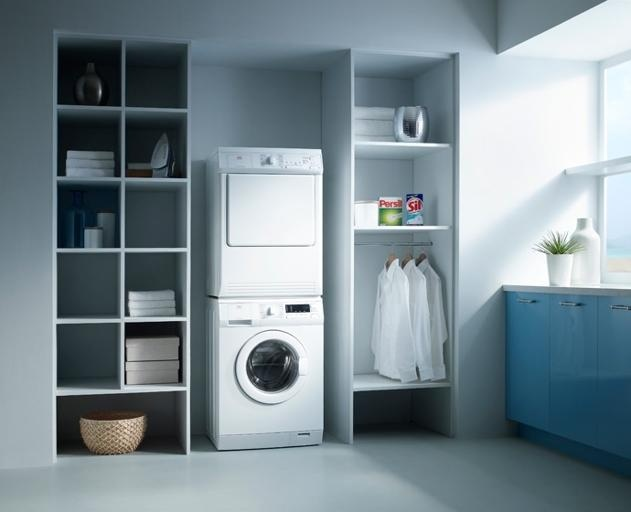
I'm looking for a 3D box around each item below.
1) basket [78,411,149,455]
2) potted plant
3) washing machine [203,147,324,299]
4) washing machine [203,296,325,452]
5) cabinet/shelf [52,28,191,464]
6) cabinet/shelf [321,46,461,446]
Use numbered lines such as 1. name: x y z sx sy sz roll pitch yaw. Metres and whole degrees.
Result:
1. basket: -1.257 1.122 3.396 0.268 0.165 0.286 1 -6 -5
2. potted plant: 1.606 0.010 3.677 0.310 0.387 0.325 -2 -2 16
3. washing machine: -0.380 -0.095 3.821 0.753 1.075 0.734 1 -18 -22
4. washing machine: -0.298 0.722 3.771 0.672 1.015 0.618 0 7 -5
5. cabinet/shelf: -1.284 -0.124 3.578 0.877 2.577 0.616 -2 20 -30
6. cabinet/shelf: 0.513 -0.049 3.913 0.887 2.694 0.621 -1 1 -10
